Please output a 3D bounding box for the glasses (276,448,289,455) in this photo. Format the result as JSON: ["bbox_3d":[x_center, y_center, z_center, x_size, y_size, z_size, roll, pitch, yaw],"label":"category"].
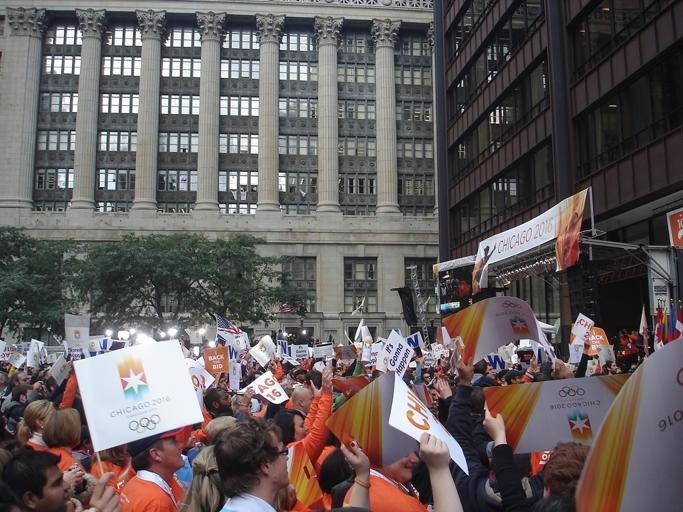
[{"bbox_3d":[-0.514,1.712,5.914,0.103,0.038,0.112,1,-5,6],"label":"glasses"}]
